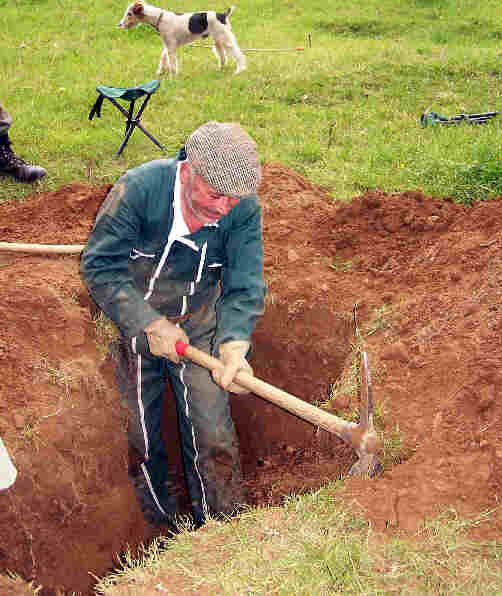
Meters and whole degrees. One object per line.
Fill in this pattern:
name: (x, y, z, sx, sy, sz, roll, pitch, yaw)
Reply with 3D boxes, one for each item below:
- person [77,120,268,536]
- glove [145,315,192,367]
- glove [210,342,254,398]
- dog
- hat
person: (-0.484, 0.291, 6.290, 1.101, 2.992, 0.747, 7, 26, 12)
glove: (-0.553, 0.279, 6.036, 0.304, 0.230, 0.143, 30, 23, 15)
glove: (-0.113, 0.469, 6.100, 0.252, 0.359, 0.391, 1, 25, -1)
dog: (-0.792, -3.360, 11.887, 1.533, 0.890, 0.845, -2, 25, -6)
hat: (-0.130, -0.844, 5.617, 0.427, 0.462, 0.138, -40, 4, -35)
